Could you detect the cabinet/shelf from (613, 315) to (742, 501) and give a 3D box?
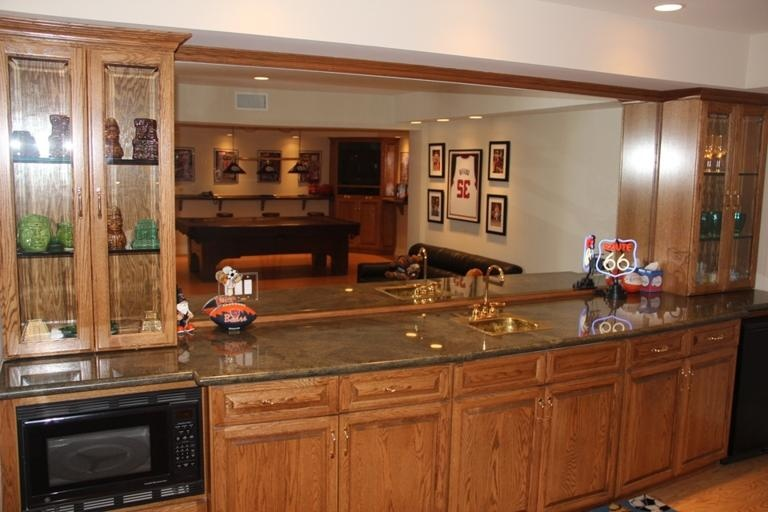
[{"bbox_3d":[2.067,1.102,4.688,1.621,1.284,0.763,2,3,-34],"label":"cabinet/shelf"}]

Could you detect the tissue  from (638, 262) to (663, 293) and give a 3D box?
[{"bbox_3d":[2.348,0.194,5.115,0.167,0.281,0.229,-7,14,-27],"label":"tissue "}]

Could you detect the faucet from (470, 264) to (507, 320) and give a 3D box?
[{"bbox_3d":[0.863,0.310,4.842,0.375,0.475,0.286,-8,14,-28],"label":"faucet"}]

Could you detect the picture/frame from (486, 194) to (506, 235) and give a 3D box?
[{"bbox_3d":[1.478,-0.557,7.649,0.056,0.615,0.500,-6,13,-28],"label":"picture/frame"}]

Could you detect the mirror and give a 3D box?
[{"bbox_3d":[0.587,-0.763,4.396,3.956,1.356,0.306,-5,8,-23],"label":"mirror"}]

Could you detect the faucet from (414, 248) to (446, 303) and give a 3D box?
[{"bbox_3d":[0.320,0.163,4.901,0.284,0.450,0.316,-7,12,-27],"label":"faucet"}]

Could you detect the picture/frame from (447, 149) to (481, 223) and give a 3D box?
[{"bbox_3d":[1.136,-1.001,8.182,0.058,1.196,1.090,-1,7,-25],"label":"picture/frame"}]

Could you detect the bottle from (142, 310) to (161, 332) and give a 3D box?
[{"bbox_3d":[-1.442,0.398,3.633,0.137,0.111,0.132,-4,8,-34],"label":"bottle"}]
